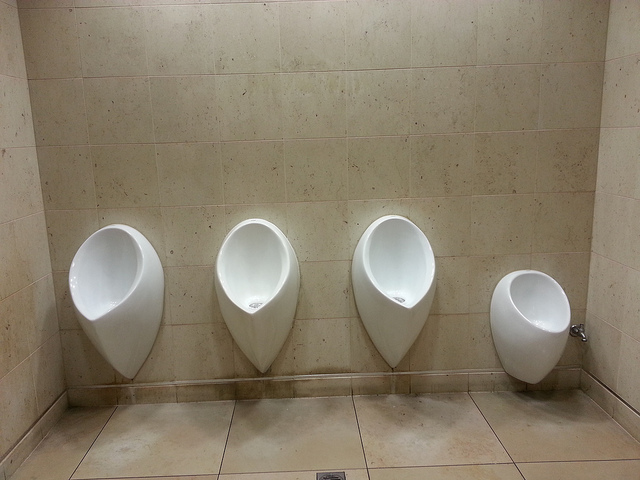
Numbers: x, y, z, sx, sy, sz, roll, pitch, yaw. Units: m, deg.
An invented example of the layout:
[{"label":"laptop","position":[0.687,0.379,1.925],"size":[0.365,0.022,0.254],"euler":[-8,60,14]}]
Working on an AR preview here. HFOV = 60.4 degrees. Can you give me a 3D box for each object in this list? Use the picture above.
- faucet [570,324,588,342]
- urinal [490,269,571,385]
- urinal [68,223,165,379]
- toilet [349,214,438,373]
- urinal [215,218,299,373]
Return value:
[{"label":"faucet","position":[1.608,0.564,3.427],"size":[0.085,0.106,0.071],"euler":[1,-82,1]},{"label":"urinal","position":[1.319,0.538,3.360],"size":[0.410,0.378,0.628],"euler":[2,-73,6]},{"label":"urinal","position":[-1.230,0.399,3.283],"size":[0.517,0.463,0.958],"euler":[-2,-83,11]},{"label":"toilet","position":[0.440,0.377,3.378],"size":[0.521,0.531,0.966],"euler":[2,-59,6]},{"label":"urinal","position":[-0.380,0.322,3.296],"size":[0.458,0.430,0.742],"euler":[-2,-58,-8]}]
